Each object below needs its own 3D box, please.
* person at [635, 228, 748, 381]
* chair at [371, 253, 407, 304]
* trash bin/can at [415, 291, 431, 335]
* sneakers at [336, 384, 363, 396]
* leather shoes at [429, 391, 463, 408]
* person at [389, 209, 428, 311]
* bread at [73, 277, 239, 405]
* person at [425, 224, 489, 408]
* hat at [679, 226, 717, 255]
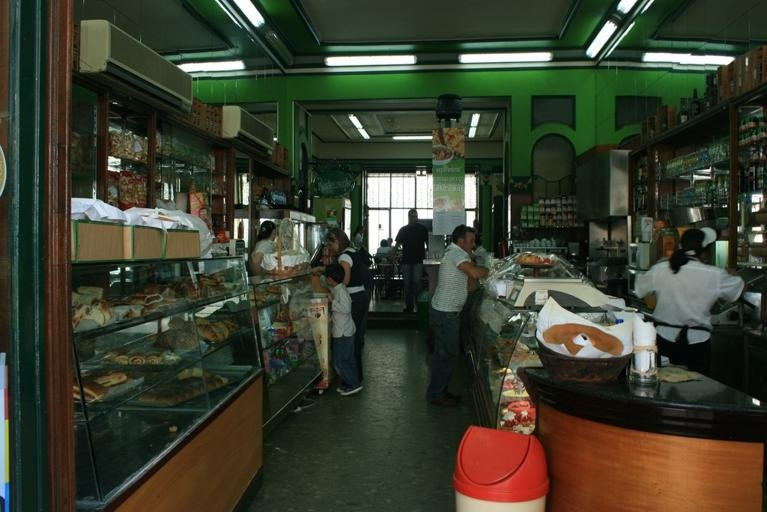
[{"bbox_3d":[2.558,0.578,5.671,0.782,1.663,0.544,6,26,28],"label":"person"},{"bbox_3d":[0.114,0.427,13.393,0.958,0.967,0.765,0,-3,6],"label":"chair"},{"bbox_3d":[0.573,0.871,9.880,0.246,0.435,0.450,2,-8,-8],"label":"trash bin/can"},{"bbox_3d":[-0.330,1.306,6.566,0.230,0.095,0.094,1,0,2],"label":"sneakers"},{"bbox_3d":[0.586,1.339,6.288,0.266,0.117,0.125,-1,-1,1],"label":"leather shoes"},{"bbox_3d":[0.460,0.088,10.281,0.573,1.533,0.462,-4,13,-5],"label":"person"},{"bbox_3d":[-1.283,0.515,4.069,0.200,0.804,1.393,3,9,25],"label":"bread"},{"bbox_3d":[0.689,0.548,6.265,0.529,1.637,0.341,0,7,6],"label":"person"},{"bbox_3d":[2.581,-0.138,5.497,0.469,0.199,0.174,-8,11,-42],"label":"hat"}]
